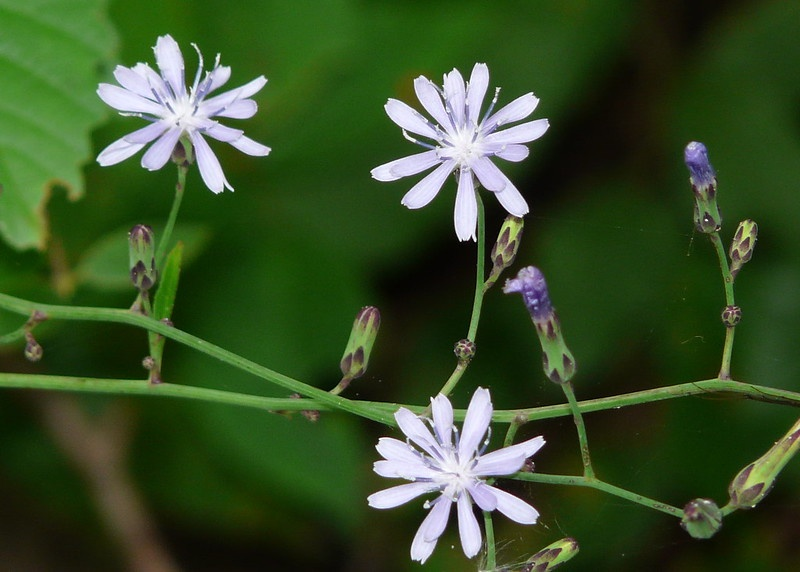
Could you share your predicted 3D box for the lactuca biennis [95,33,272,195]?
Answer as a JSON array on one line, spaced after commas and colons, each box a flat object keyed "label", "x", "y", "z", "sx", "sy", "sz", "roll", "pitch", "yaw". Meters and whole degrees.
[{"label": "lactuca biennis", "x": -0.938, "y": -0.760, "z": 3.567, "sx": 0.733, "sy": 0.694, "sz": 0.379, "roll": -9, "pitch": 16, "yaw": 5}]

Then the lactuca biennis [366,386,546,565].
[{"label": "lactuca biennis", "x": 0.229, "y": 0.778, "z": 3.349, "sx": 0.741, "sy": 0.621, "sz": 0.307, "roll": -12, "pitch": 16, "yaw": -6}]
